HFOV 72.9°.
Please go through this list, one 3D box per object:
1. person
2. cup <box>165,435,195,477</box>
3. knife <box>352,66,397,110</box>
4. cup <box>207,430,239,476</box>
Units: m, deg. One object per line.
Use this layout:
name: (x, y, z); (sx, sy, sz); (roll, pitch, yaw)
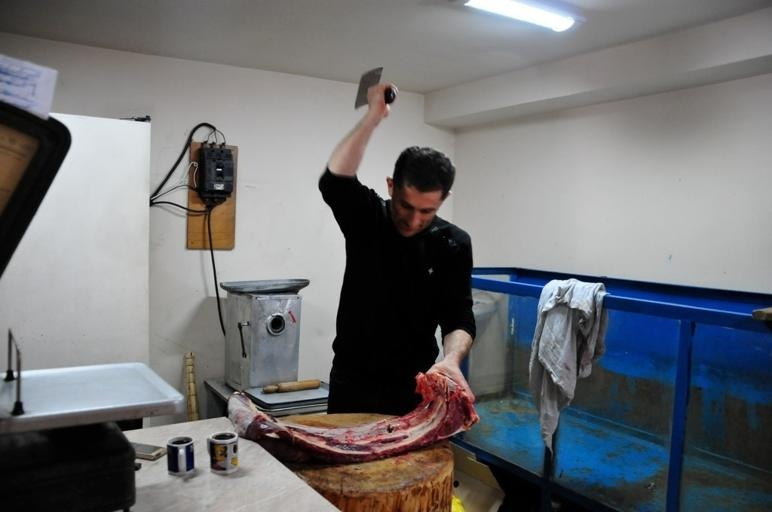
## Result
person: (0.061, 0.055, 2.387); (0.732, 1.508, 0.542); (3, 3, 6)
cup: (-0.781, 0.768, 1.979); (0.098, 0.116, 0.151); (0, 3, -20)
knife: (-0.046, -0.728, 2.216); (0.146, 0.208, 0.284); (2, 3, -10)
cup: (-0.633, 0.758, 2.018); (0.119, 0.123, 0.112); (2, -2, 0)
